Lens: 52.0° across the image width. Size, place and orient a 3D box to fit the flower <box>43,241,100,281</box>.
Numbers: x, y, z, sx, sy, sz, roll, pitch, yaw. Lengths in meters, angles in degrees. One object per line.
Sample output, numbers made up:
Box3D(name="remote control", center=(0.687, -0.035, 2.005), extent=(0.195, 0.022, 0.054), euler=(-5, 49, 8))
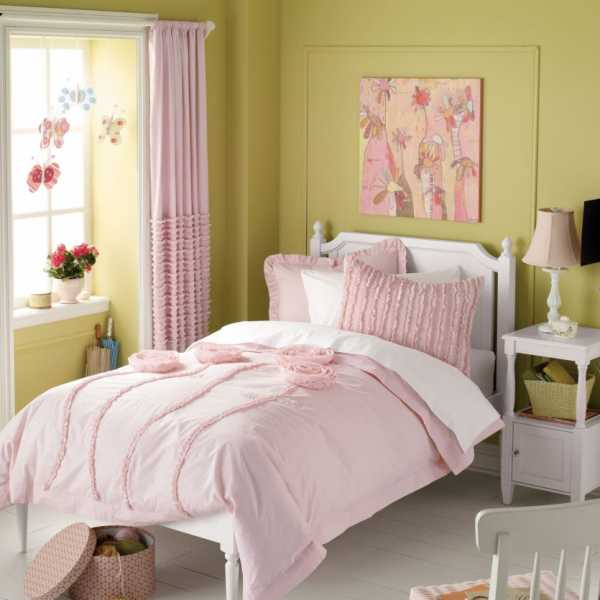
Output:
Box3D(name="flower", center=(-1.426, -0.240, 3.895), extent=(0.272, 0.217, 0.271), euler=(-24, -5, 39))

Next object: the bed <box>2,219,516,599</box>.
Box3D(name="bed", center=(-0.031, 0.321, 3.082), extent=(1.385, 1.511, 2.260), euler=(5, 6, 39))

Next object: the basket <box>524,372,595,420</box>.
Box3D(name="basket", center=(1.326, 0.479, 3.130), extent=(0.297, 0.179, 0.224), euler=(-2, -1, 29))

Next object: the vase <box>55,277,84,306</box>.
Box3D(name="vase", center=(-1.464, -0.060, 3.911), extent=(0.167, 0.133, 0.169), euler=(0, -4, 4))

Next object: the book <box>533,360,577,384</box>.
Box3D(name="book", center=(1.314, 0.374, 3.188), extent=(0.143, 0.033, 0.142), euler=(1, 15, -46))

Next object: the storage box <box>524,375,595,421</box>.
Box3D(name="storage box", center=(1.317, 0.488, 3.103), extent=(0.287, 0.167, 0.208), euler=(-2, -1, 29))

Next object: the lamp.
Box3D(name="lamp", center=(1.310, -0.164, 3.212), extent=(0.267, 0.657, 0.318), euler=(3, 6, 22))
